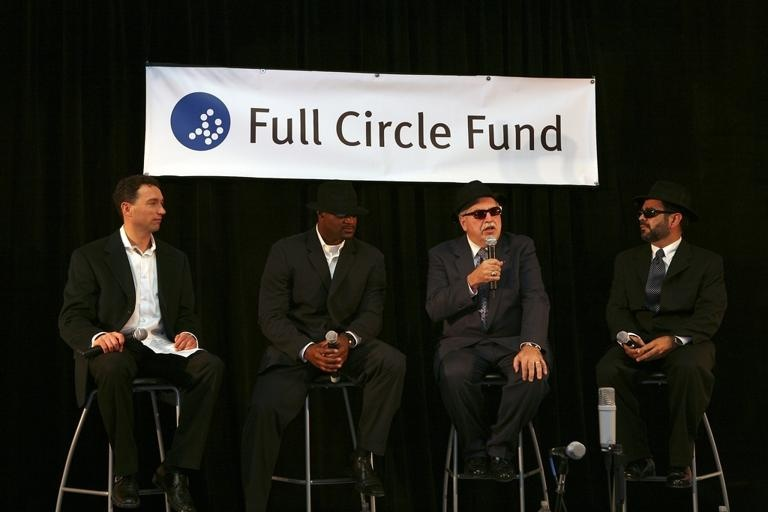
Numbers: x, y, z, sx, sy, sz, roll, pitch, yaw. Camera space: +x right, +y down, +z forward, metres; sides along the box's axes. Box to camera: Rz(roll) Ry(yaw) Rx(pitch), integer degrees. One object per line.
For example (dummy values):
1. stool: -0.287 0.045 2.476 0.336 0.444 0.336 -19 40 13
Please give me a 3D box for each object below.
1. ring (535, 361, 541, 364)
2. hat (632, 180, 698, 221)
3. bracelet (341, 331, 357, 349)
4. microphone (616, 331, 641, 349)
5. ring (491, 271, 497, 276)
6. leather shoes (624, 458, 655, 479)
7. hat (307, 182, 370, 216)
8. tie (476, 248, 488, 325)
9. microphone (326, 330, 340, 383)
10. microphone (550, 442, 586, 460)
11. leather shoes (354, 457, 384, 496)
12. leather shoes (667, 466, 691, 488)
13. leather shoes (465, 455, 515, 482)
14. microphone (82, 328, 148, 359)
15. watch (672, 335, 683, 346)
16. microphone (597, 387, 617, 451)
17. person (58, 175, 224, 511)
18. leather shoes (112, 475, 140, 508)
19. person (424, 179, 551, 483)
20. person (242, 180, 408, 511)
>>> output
1. ring: 1.006 0.699 6.224 0.028 0.019 0.012 -1 -3 -11
2. hat: 2.012 -0.326 6.682 0.331 0.132 0.306 26 -3 -16
3. bracelet: -0.228 0.553 6.277 0.086 0.108 0.082 -38 -36 9
4. microphone: 1.641 0.563 6.342 0.049 0.091 0.195 15 -5 36
5. ring: 0.717 0.114 6.199 0.035 0.025 0.007 -1 -4 -8
6. leather shoes: 1.770 1.436 6.413 0.287 0.143 0.102 3 -2 -24
7. hat: -0.351 -0.372 6.449 0.235 0.144 0.295 -1 0 -39
8. tie: 0.670 0.213 6.547 0.065 0.560 0.072 -3 -4 1
9. microphone: -0.341 0.655 6.152 0.078 0.340 0.303 -1 -1 -18
10. microphone: 1.078 1.155 5.585 0.097 0.100 0.349 20 -16 -9
11. leather shoes: -0.103 1.416 6.092 0.213 0.251 0.104 -5 -6 35
12. leather shoes: 1.952 1.457 6.241 0.152 0.185 0.102 0 -2 0
13. leather shoes: 0.695 1.370 6.167 0.314 0.161 0.156 -4 -2 23
14. microphone: -1.727 0.563 6.055 0.398 0.185 0.279 -1 -5 -10
15. watch: 1.997 0.576 6.420 0.073 0.066 0.014 -1 -4 -8
16. microphone: 1.312 0.955 5.562 0.088 0.354 0.112 -2 -4 10
17. person: -1.586 0.534 6.133 1.013 2.179 0.511 1 -5 -23
18. leather shoes: -1.632 1.469 5.917 0.169 0.184 0.148 0 -5 -18
19. person: 0.689 0.462 6.409 0.837 2.004 0.511 -2 -4 10
20. person: -0.403 0.556 6.309 1.059 2.141 0.509 -1 -4 0
